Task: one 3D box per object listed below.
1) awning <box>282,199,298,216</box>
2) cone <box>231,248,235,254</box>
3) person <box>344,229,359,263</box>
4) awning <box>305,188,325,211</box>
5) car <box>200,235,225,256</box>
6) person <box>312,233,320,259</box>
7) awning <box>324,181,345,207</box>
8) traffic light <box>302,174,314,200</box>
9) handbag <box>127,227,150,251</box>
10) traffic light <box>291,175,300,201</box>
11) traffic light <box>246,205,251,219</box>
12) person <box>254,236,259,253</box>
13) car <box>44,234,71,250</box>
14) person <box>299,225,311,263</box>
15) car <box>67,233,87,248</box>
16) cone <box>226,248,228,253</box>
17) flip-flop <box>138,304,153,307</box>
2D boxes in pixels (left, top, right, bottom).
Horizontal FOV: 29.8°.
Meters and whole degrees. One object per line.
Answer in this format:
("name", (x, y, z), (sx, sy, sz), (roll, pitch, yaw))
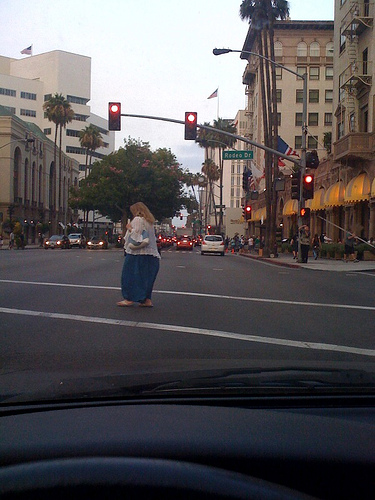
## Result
("awning", (6.636, -2.773, 45.366), (0.788, 0.663, 0.851), (-3, 1, -29))
("cone", (3.358, 0.107, 52.644), (0.193, 0.314, 0.233), (0, -3, -2))
("person", (6.621, -0.176, 28.545), (0.583, 1.310, 3.481), (1, 3, 12))
("awning", (7.181, -2.824, 39.550), (0.900, 1.273, 4.623), (1, 4, 10))
("car", (1.415, -0.248, 40.310), (0.823, 1.031, 1.855), (1, 8, 2))
("person", (6.291, -0.169, 34.701), (0.381, 1.115, 2.547), (1, 3, 10))
("awning", (7.227, -2.738, 34.527), (0.851, 0.774, 0.982), (6, 13, 25))
("traffic light", (4.267, -2.271, 25.159), (0.333, 0.869, 0.585), (1, 3, 3))
("handbag", (-0.632, -0.100, 9.377), (0.319, 0.455, 0.211), (-1, -8, 0))
("traffic light", (3.944, -2.283, 25.722), (0.270, 0.875, 0.850), (1, 3, 8))
("traffic light", (2.996, -1.879, 34.884), (0.234, 0.656, 0.438), (1, 3, 1))
("person", (4.582, -0.305, 46.998), (0.292, 0.960, 1.157), (1, 3, 5))
("car", (-9.684, -0.779, 53.065), (0.910, 1.005, 1.812), (-1, -6, 10))
("person", (4.412, -0.232, 26.755), (0.386, 1.435, 1.469), (1, 3, 10))
("car", (-9.481, -0.921, 60.500), (0.981, 1.017, 2.028), (0, -4, 2))
("cone", (3.182, 0.054, 57.378), (0.168, 0.456, 0.223), (3, -7, -27))
("flip-flop", (-0.584, 0.775, 9.838), (0.199, 0.026, 0.113), (3, 4, 29))
